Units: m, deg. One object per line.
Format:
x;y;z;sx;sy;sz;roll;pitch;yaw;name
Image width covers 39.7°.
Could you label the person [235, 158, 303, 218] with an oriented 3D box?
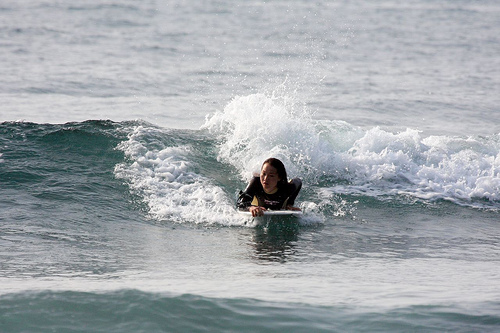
0.548;0.565;18.574;1.718;1.434;0.620;3;-1;-1;person
